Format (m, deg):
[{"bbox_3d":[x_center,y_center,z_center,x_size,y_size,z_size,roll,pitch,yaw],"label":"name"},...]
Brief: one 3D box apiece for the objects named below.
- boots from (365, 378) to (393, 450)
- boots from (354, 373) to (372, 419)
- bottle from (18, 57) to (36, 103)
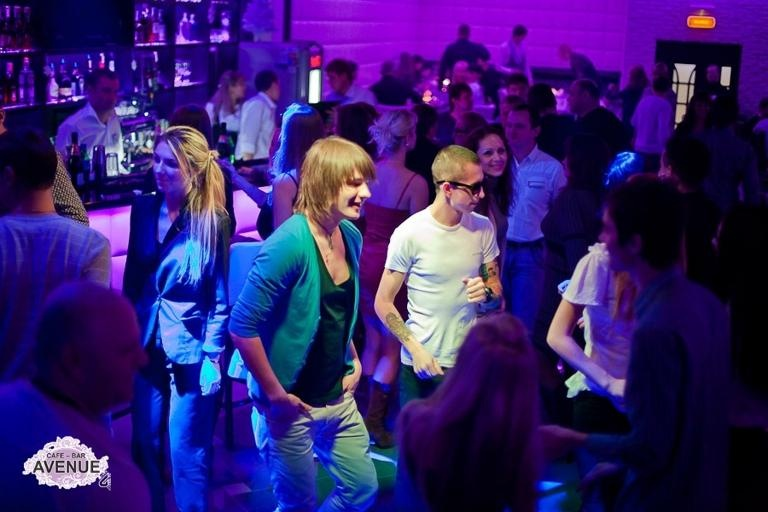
[{"bbox_3d":[-0.032,1.086,4.520,0.193,0.470,0.207,3,10,-3],"label":"boots"},{"bbox_3d":[-0.180,1.091,5.133,0.088,0.258,0.208,18,-31,-14],"label":"boots"},{"bbox_3d":[-3.300,-1.616,5.865,0.122,0.414,0.147,3,10,-6],"label":"bottle"}]
